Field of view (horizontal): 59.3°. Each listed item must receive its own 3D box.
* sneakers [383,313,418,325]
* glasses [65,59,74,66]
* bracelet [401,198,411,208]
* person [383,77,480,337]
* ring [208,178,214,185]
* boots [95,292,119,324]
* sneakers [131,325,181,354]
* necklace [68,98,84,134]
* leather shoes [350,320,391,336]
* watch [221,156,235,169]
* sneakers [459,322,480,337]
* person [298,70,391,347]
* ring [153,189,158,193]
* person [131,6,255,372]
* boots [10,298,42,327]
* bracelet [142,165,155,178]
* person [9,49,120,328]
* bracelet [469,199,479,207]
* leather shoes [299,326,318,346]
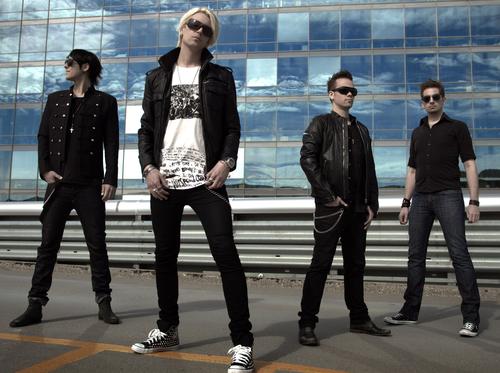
[{"bbox_3d":[1.645,1.458,4.860,0.379,0.119,0.125,3,-15,1],"label":"sneakers"},{"bbox_3d":[-1.969,-1.351,4.793,0.108,0.090,0.049,-2,11,-13],"label":"glasses"},{"bbox_3d":[1.904,0.202,5.420,0.100,0.108,0.129,-1,-10,42],"label":"bracelet"},{"bbox_3d":[2.113,0.107,4.923,0.906,2.765,1.105,2,2,23],"label":"person"},{"bbox_3d":[-0.330,-0.039,3.665,0.046,0.045,0.013,1,1,4],"label":"ring"},{"bbox_3d":[-1.482,1.300,4.650,0.152,0.263,0.393,-5,4,-42],"label":"boots"},{"bbox_3d":[-0.792,1.347,3.825,0.496,0.197,0.161,6,-16,-25],"label":"sneakers"},{"bbox_3d":[-1.921,-0.778,4.821,0.136,0.373,0.069,17,-9,-4],"label":"necklace"},{"bbox_3d":[1.220,1.440,4.493,0.426,0.143,0.140,-2,-9,11],"label":"leather shoes"},{"bbox_3d":[-0.189,-0.191,3.743,0.116,0.098,0.043,12,-46,-36],"label":"watch"},{"bbox_3d":[2.177,1.431,4.389,0.253,0.085,0.090,20,-28,-37],"label":"sneakers"},{"bbox_3d":[0.903,0.122,4.443,0.980,2.713,0.590,1,2,-21],"label":"person"},{"bbox_3d":[-0.794,0.031,3.703,0.046,0.030,0.014,2,1,26],"label":"ring"},{"bbox_3d":[-0.434,-0.064,3.796,1.154,3.025,0.554,2,2,25],"label":"person"},{"bbox_3d":[-2.288,1.285,4.483,0.151,0.237,0.382,-8,-10,23],"label":"boots"},{"bbox_3d":[-0.863,-0.124,3.778,0.124,0.047,0.093,-31,-16,7],"label":"bracelet"},{"bbox_3d":[-1.892,-0.060,4.732,0.997,2.935,0.716,1,2,-15],"label":"person"},{"bbox_3d":[2.473,0.181,4.843,0.096,0.043,0.086,21,-14,-25],"label":"bracelet"},{"bbox_3d":[0.553,1.411,4.154,0.193,0.132,0.185,2,1,11],"label":"leather shoes"}]
